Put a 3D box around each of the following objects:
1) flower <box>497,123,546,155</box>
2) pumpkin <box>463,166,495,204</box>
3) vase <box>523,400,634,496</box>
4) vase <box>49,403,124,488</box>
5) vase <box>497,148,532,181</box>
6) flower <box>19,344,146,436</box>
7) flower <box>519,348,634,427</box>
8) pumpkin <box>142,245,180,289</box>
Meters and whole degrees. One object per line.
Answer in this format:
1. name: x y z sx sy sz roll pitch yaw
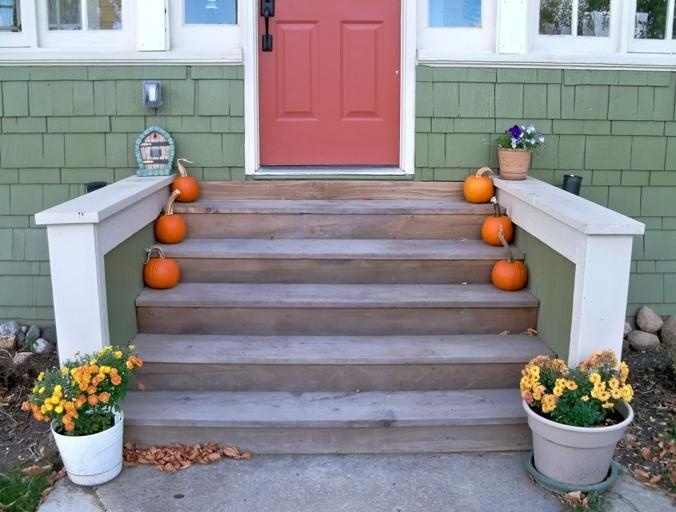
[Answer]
1. flower: 1.314 -0.790 4.287 0.259 0.159 0.287 0 22 -7
2. pumpkin: 1.040 -0.541 4.397 0.240 0.340 0.258 4 15 18
3. vase: 1.106 0.832 2.829 0.408 0.302 0.414 -5 14 -23
4. vase: -1.204 0.963 2.909 0.279 0.250 0.324 -6 -6 43
5. vase: 1.243 -0.653 4.222 0.220 0.182 0.232 -1 10 -6
6. flower: -1.217 0.648 2.866 0.517 0.343 0.388 -12 18 -31
7. flower: 1.194 0.687 2.910 0.493 0.292 0.462 -21 11 -33
8. pumpkin: -1.067 0.062 3.673 0.241 0.339 0.238 0 0 2
